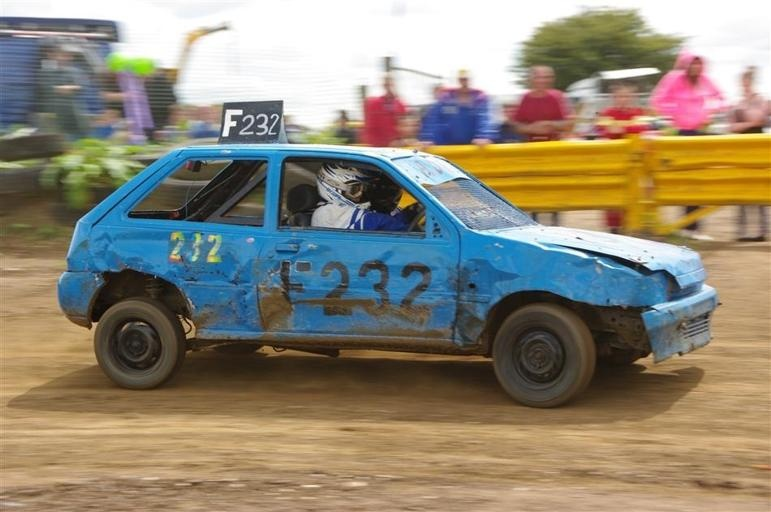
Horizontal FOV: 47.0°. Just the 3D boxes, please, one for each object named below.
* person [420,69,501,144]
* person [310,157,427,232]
[{"bbox_3d":[1.030,-2.010,12.188,1.060,0.994,0.367,4,15,0],"label":"person"},{"bbox_3d":[-0.267,-0.533,7.914,1.317,0.394,0.658,-1,15,1],"label":"person"}]
